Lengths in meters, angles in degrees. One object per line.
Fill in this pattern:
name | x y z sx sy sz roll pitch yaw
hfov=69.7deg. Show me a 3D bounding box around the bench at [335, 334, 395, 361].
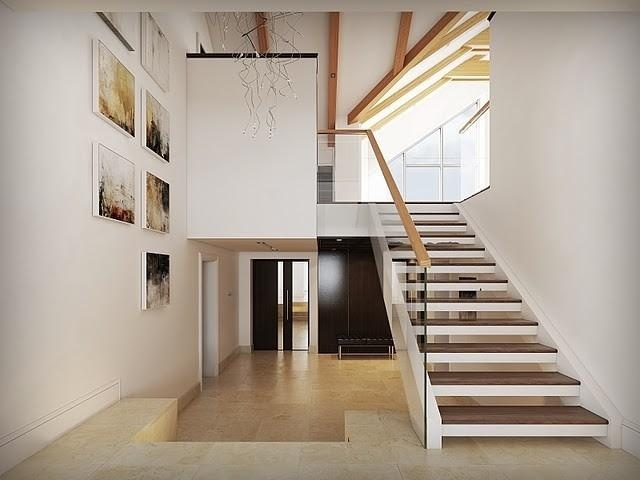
bench | 1.013 2.378 10.066 1.277 0.451 0.539 0 -2 1
